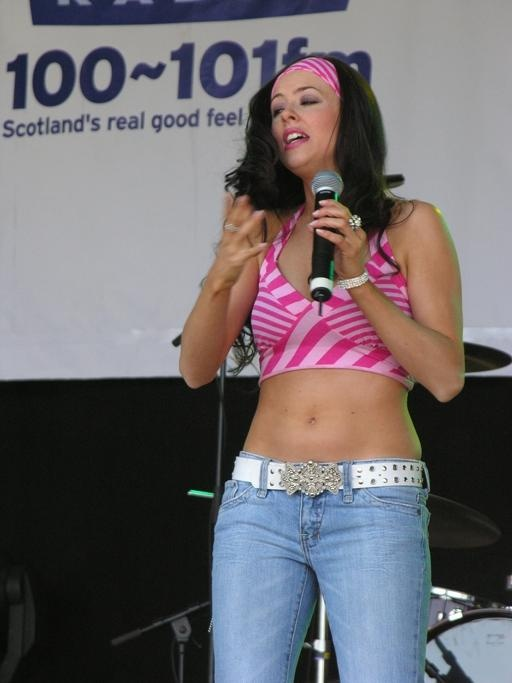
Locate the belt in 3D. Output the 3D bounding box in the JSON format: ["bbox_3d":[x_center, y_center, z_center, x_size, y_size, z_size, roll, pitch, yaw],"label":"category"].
[{"bbox_3d":[0.105,0.218,1.253,0.320,0.057,0.098,0,6,14],"label":"belt"}]

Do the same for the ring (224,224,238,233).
[{"bbox_3d":[-0.045,-0.201,1.347,0.019,0.009,0.023,3,-4,1],"label":"ring"}]
